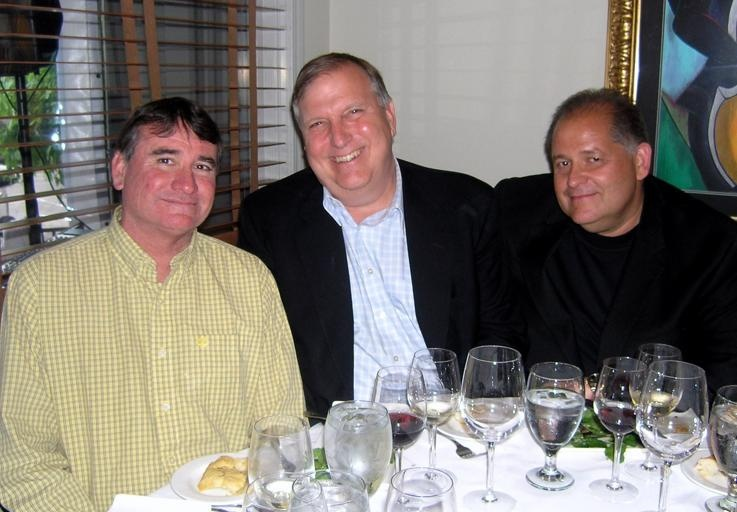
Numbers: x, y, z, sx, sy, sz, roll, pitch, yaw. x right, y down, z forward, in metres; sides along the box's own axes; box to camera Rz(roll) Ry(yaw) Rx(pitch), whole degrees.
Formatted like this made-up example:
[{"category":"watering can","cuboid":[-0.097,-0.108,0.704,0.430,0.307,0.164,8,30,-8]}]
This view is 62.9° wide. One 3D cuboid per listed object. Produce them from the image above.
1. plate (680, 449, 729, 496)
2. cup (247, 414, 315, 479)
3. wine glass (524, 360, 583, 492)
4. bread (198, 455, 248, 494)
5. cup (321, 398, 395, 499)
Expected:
[{"category":"plate","cuboid":[0.844,0.543,1.509,0.100,0.012,0.093,-4,15,1]},{"category":"cup","cuboid":[-0.180,0.415,1.338,0.151,0.131,0.143,0,-4,0]},{"category":"wine glass","cuboid":[0.470,0.419,1.533,0.139,0.290,0.226,2,12,19]},{"category":"bread","cuboid":[-0.352,0.530,1.496,0.116,0.030,0.133,9,17,-5]},{"category":"cup","cuboid":[-0.019,0.472,1.419,0.159,0.233,0.161,-1,10,0]}]
